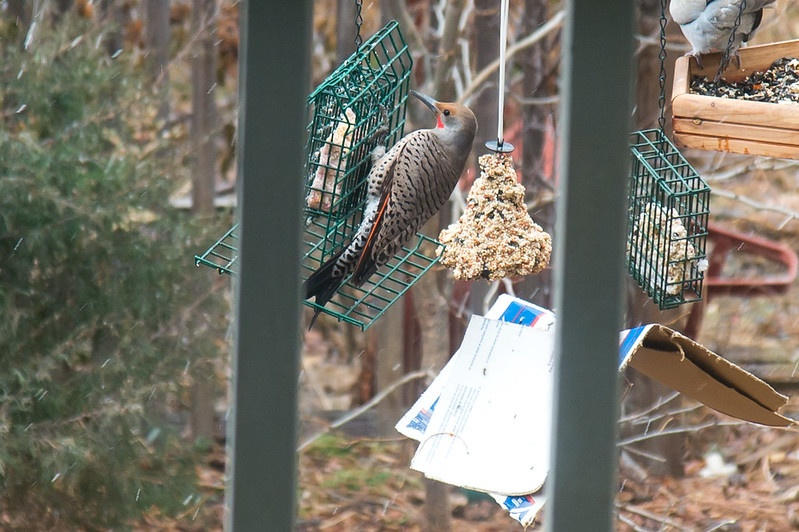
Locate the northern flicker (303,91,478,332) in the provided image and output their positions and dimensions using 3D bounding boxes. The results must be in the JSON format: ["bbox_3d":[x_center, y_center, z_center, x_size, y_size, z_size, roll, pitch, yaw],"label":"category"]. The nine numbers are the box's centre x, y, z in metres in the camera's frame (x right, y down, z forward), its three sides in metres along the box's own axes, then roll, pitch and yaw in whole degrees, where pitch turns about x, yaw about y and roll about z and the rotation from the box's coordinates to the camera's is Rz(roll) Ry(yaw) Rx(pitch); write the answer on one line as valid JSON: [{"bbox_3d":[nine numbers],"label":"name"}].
[{"bbox_3d":[-0.042,-0.497,12.375,0.483,1.440,1.306,31,38,34],"label":"northern flicker"}]
